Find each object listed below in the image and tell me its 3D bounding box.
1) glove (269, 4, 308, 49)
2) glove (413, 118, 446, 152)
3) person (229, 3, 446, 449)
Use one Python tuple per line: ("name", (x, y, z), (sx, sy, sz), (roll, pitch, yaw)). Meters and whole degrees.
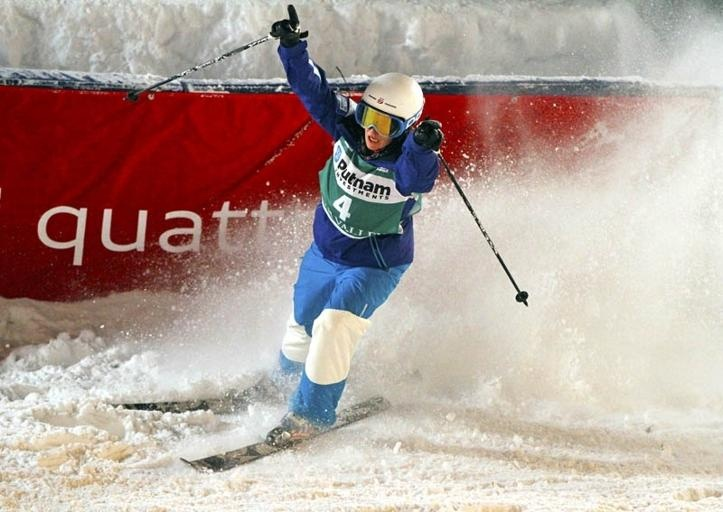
("glove", (-0.534, -1.736, 9.149), (0.264, 0.295, 0.160), (9, 27, -8))
("glove", (0.467, -0.919, 8.972), (0.180, 0.113, 0.250), (-1, 63, -14))
("person", (-0.110, -0.088, 9.340), (1.059, 2.550, 1.400), (5, 28, -16))
